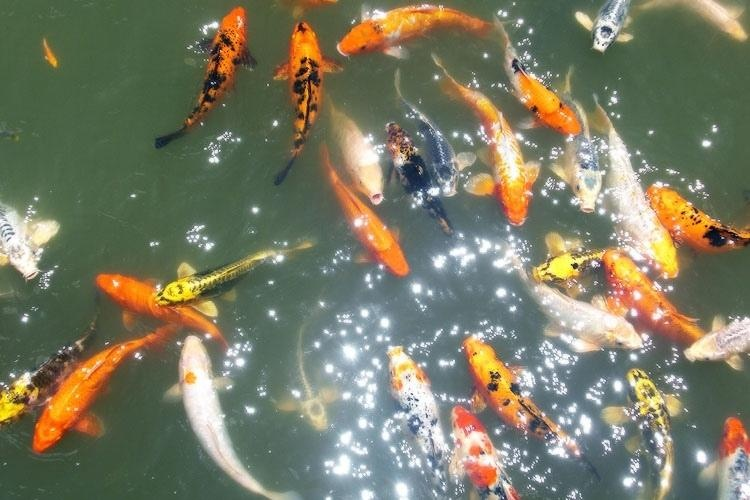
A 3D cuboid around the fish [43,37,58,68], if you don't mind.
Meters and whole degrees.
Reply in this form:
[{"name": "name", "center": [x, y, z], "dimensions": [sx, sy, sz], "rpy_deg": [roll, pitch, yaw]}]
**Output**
[{"name": "fish", "center": [-5.532, -3.244, 17.584], "dimensions": [0.235, 0.159, 0.677], "rpy_deg": [-9, 82, -21]}]
